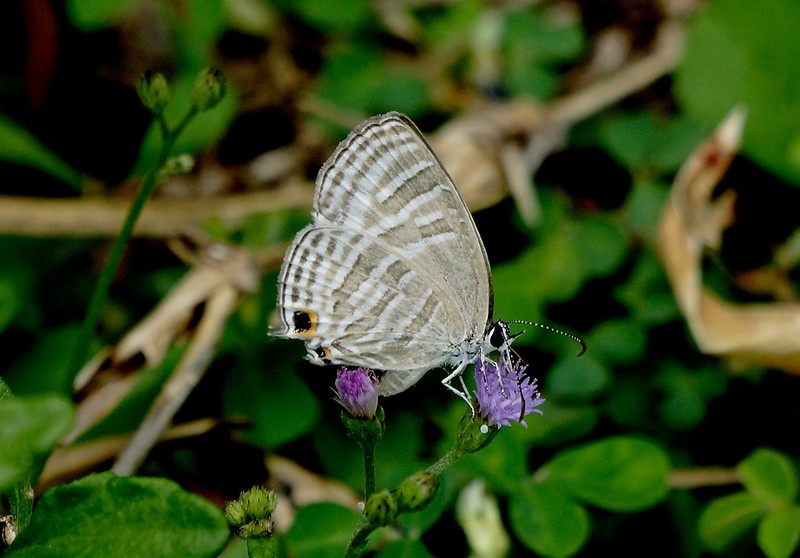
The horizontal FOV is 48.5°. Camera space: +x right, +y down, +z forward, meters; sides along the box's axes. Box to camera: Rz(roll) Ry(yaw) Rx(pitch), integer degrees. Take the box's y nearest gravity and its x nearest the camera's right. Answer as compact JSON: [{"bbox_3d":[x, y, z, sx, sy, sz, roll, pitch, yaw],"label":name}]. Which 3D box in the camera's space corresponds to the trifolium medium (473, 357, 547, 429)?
[{"bbox_3d":[0.486,0.461,3.921,0.300,0.307,0.194,41,93,9],"label":"trifolium medium"}]

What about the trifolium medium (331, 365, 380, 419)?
[{"bbox_3d":[-0.185,0.486,3.814,0.184,0.153,0.216,5,80,0],"label":"trifolium medium"}]
